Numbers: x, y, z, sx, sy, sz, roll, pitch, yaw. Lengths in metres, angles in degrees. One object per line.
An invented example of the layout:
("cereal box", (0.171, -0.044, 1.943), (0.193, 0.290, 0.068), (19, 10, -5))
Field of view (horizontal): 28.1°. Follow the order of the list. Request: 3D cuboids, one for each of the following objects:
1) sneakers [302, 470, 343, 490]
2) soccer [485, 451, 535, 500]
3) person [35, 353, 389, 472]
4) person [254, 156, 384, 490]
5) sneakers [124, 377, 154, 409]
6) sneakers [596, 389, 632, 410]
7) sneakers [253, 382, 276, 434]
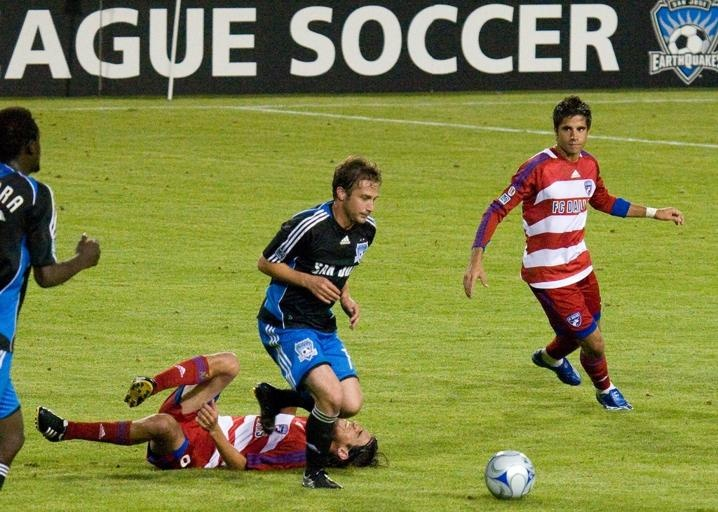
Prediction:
("sneakers", (-0.403, 2.285, 14.606), (0.466, 0.187, 0.160), (3, 0, 5))
("soccer", (1.491, 2.208, 14.437), (0.500, 0.460, 0.470), (-4, -10, -1))
("person", (-1.448, 1.722, 14.957), (3.671, 1.340, 1.170), (0, 0, -14))
("person", (-0.421, 0.687, 14.820), (1.281, 3.349, 0.753), (-1, 1, -4))
("sneakers", (-2.245, 1.381, 14.522), (0.228, 0.331, 0.126), (39, 22, -11))
("sneakers", (2.858, 1.619, 16.108), (0.207, 0.162, 0.372), (-7, 4, -38))
("sneakers", (-0.975, 1.604, 14.995), (0.173, 0.534, 0.240), (-7, 5, 5))
